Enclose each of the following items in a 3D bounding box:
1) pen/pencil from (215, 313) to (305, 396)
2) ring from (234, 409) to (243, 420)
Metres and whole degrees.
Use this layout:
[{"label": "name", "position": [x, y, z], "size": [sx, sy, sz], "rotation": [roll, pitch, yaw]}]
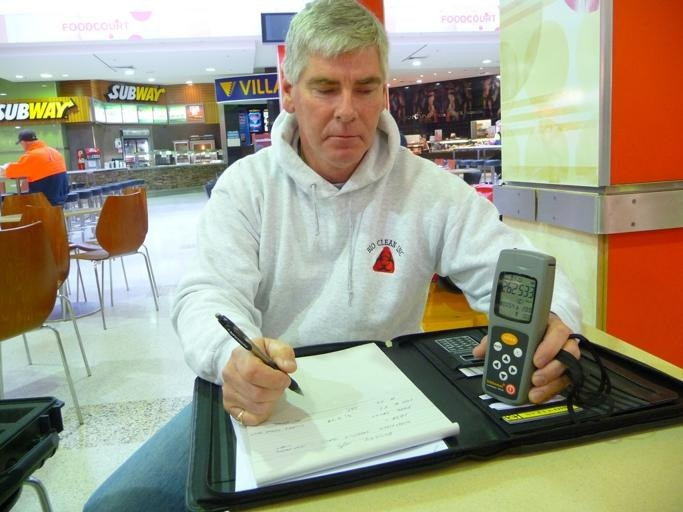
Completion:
[{"label": "pen/pencil", "position": [-0.167, 0.199, 0.938], "size": [0.030, 0.223, 0.025], "rotation": [-48, 13, -16]}, {"label": "ring", "position": [-0.182, 0.284, 0.840], "size": [0.011, 0.016, 0.018], "rotation": [15, 50, 19]}]
